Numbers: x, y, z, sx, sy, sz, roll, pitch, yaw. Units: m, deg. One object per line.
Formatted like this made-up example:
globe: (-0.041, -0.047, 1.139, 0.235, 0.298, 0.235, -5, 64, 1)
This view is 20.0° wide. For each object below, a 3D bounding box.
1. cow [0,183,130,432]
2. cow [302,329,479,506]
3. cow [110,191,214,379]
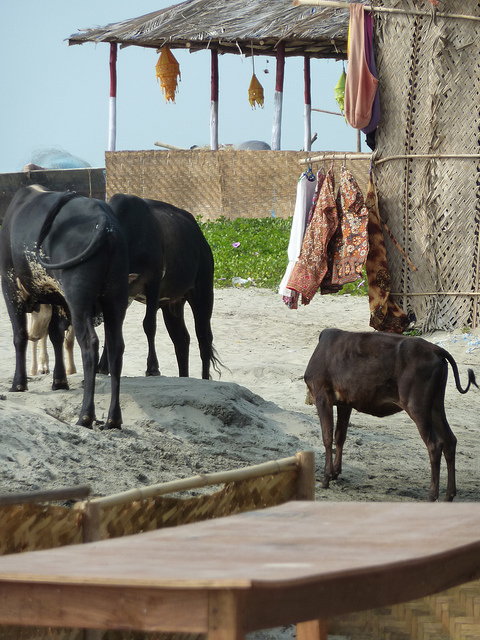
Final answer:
cow: (-1.078, -0.109, 8.543, 0.565, 1.362, 1.505, 1, 8, -27)
cow: (0.760, 0.504, 7.387, 0.358, 0.937, 0.929, -1, 9, -38)
cow: (-0.518, -0.111, 9.763, 0.655, 1.608, 0.835, -1, 15, -12)
